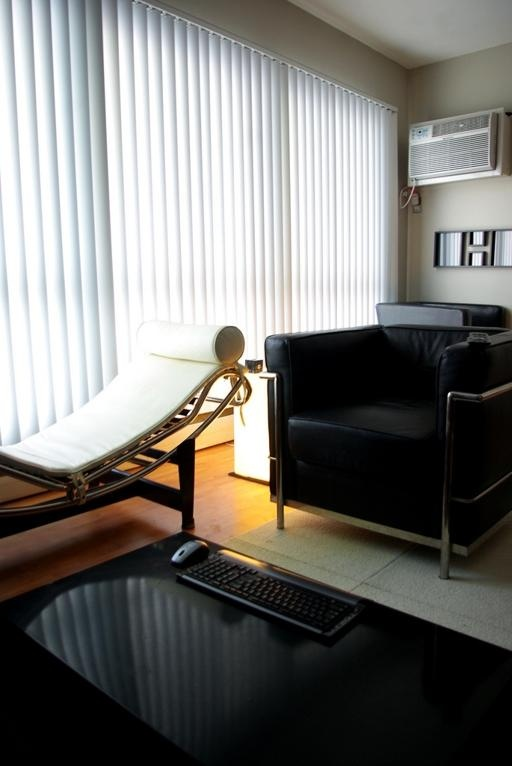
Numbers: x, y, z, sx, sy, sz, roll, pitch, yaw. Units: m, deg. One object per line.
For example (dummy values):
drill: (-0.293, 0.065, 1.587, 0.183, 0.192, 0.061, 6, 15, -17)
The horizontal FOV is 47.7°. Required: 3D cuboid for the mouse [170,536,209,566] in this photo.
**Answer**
mouse: (-0.146, 0.360, 1.247, 0.039, 0.031, 0.080, -2, 1, 33)
